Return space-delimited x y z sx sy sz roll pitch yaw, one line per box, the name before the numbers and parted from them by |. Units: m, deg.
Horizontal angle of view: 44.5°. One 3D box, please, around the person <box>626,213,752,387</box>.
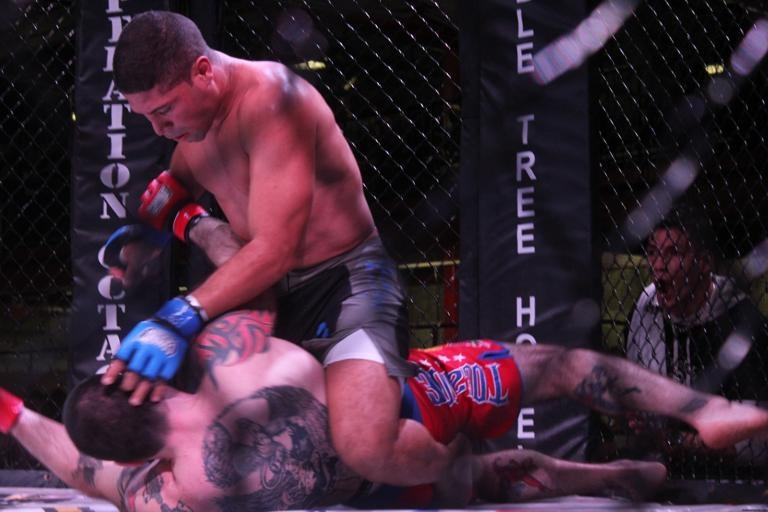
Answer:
person | 1.436 0.232 4.447 0.477 0.848 0.777 3 -2 -36
